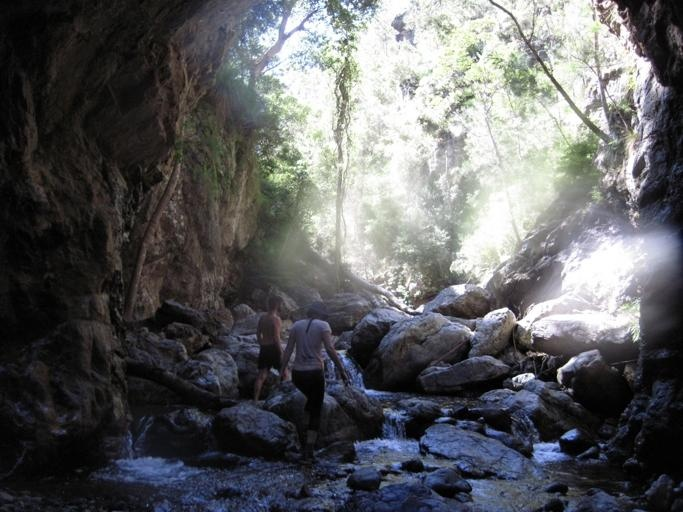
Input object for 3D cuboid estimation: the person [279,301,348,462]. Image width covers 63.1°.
[{"bbox_3d":[-0.503,2.077,9.356,1.003,2.572,0.650,3,-14,-5],"label":"person"}]
